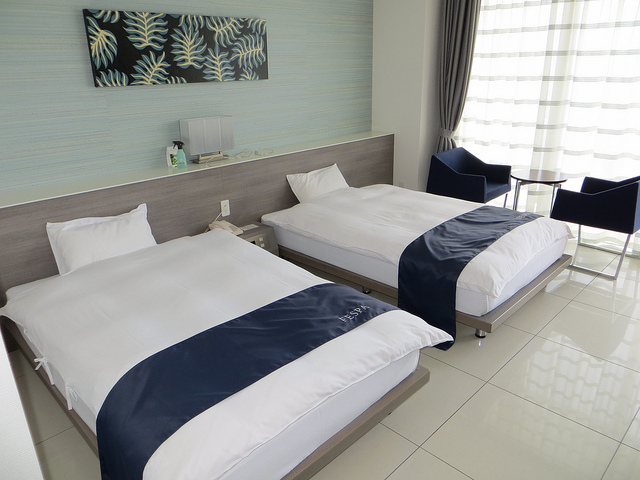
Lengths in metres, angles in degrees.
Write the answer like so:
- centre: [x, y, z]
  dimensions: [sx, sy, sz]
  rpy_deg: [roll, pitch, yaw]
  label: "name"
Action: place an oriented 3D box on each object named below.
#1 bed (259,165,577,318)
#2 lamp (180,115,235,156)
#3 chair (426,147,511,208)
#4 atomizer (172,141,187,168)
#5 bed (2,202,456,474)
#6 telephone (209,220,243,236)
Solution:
- centre: [0.701, -0.080, 3.833]
  dimensions: [2.116, 0.558, 1.685]
  rpy_deg: [19, 30, 39]
  label: "bed"
- centre: [-1.061, -1.068, 4.219]
  dimensions: [0.557, 0.335, 0.171]
  rpy_deg: [1, 8, 23]
  label: "lamp"
- centre: [1.860, -0.796, 5.277]
  dimensions: [0.950, 0.933, 0.885]
  rpy_deg: [13, 26, 35]
  label: "chair"
- centre: [-1.390, -0.857, 4.086]
  dimensions: [0.112, 0.236, 0.230]
  rpy_deg: [-10, 26, -16]
  label: "atomizer"
- centre: [-0.798, 0.643, 2.821]
  dimensions: [2.380, 0.587, 1.751]
  rpy_deg: [18, 30, 38]
  label: "bed"
- centre: [-0.937, -0.136, 4.102]
  dimensions: [0.236, 0.068, 0.171]
  rpy_deg: [17, 30, 26]
  label: "telephone"
